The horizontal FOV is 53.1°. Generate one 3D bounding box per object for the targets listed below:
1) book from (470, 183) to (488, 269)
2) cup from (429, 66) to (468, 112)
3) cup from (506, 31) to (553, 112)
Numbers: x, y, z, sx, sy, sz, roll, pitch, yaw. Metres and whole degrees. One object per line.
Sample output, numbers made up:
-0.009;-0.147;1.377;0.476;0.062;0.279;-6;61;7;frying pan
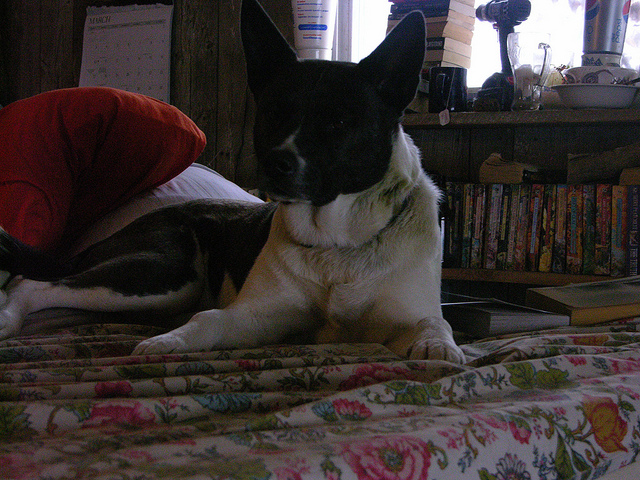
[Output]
0.766;-0.068;3.074;0.048;0.510;0.363;4;-3;9;book
0.637;-0.699;3.196;0.187;0.261;0.231;-1;-12;23;cup
0.982;-0.796;3.037;0.211;0.396;0.242;5;6;15;cup
